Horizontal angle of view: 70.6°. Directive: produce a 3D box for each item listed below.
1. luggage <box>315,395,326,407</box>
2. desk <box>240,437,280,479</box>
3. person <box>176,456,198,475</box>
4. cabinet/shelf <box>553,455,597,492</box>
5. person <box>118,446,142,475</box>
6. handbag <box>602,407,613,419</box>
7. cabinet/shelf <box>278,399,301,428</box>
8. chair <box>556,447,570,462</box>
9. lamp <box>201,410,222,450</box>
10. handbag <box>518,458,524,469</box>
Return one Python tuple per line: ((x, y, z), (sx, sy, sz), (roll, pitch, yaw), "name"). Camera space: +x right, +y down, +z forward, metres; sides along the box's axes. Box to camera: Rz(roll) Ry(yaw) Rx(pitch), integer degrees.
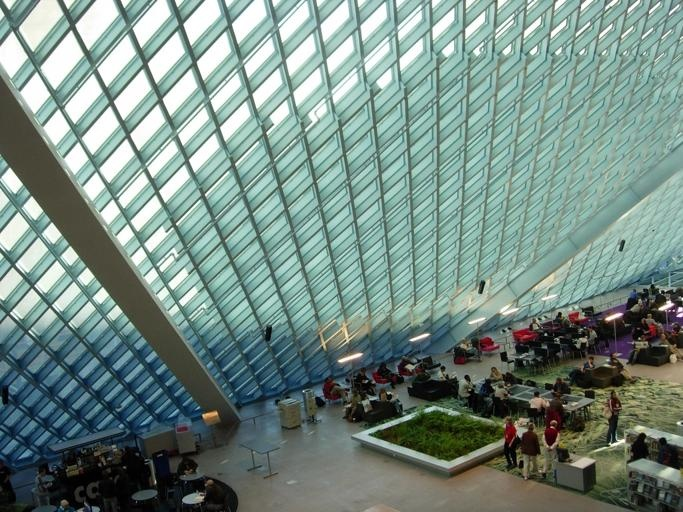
((-1.120, 7.597, 25.237), (0.489, 0.532, 0.549), (-7, 1, -5), "luggage")
((-3.181, 7.859, 18.691), (0.811, 0.881, 1.526), (-4, 6, -41), "desk")
((-5.302, 7.148, 16.469), (0.562, 0.640, 0.664), (-7, 1, -27), "person")
((7.070, 6.474, 14.645), (1.024, 0.724, 1.025), (-6, -4, 38), "cabinet/shelf")
((-7.292, 7.054, 16.692), (0.750, 0.898, 0.243), (4, -28, -43), "person")
((9.258, 5.512, 16.970), (0.335, 0.318, 0.285), (-7, 1, -23), "handbag")
((-2.481, 7.458, 22.876), (1.384, 1.099, 0.785), (-2, 1, -41), "cabinet/shelf")
((6.789, 6.032, 14.835), (0.501, 0.408, 0.408), (0, 2, 26), "chair")
((-6.112, 8.191, 22.710), (1.100, 1.724, 0.989), (-9, -6, -11), "lamp")
((5.964, 6.943, 16.146), (0.168, 0.254, 0.537), (-6, 0, 23), "handbag")
